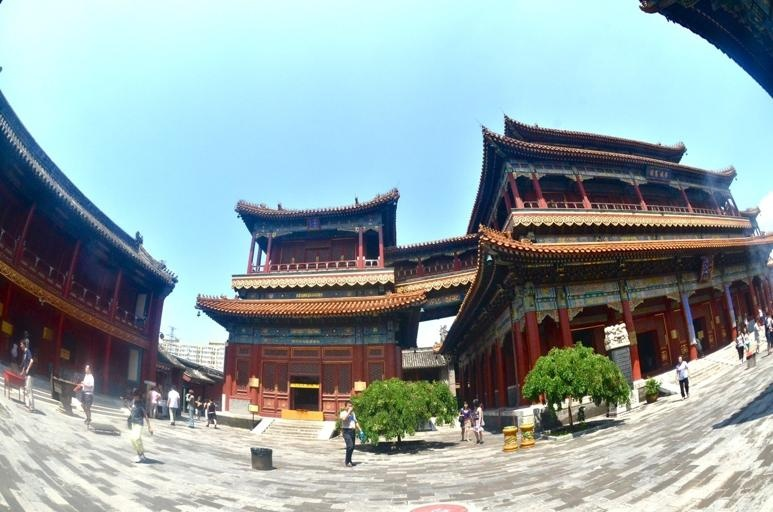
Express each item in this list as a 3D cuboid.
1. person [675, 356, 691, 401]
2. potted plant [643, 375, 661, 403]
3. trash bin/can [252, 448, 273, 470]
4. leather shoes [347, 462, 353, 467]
[{"bbox_3d":[13.008,5.332,20.240,0.464,2.023,1.346,-9,-2,30],"label":"person"},{"bbox_3d":[12.002,6.062,20.924,0.591,1.196,1.088,-10,-3,34],"label":"potted plant"},{"bbox_3d":[-4.518,7.269,16.766,0.733,0.678,0.720,2,-5,-7],"label":"trash bin/can"},{"bbox_3d":[-1.419,7.948,17.478,0.230,0.098,0.188,-9,-3,-10],"label":"leather shoes"}]
